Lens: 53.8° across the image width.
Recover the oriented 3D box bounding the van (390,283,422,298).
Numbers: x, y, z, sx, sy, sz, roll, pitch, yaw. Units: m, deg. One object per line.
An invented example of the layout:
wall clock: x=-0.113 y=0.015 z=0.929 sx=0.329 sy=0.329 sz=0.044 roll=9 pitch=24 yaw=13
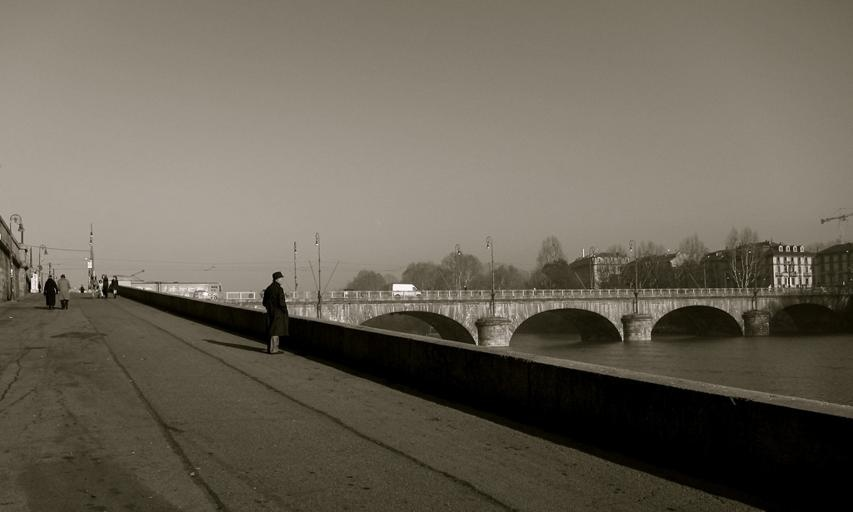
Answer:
van: x=-2.105 y=3.417 z=80.183 sx=2.910 sy=1.443 sz=1.547 roll=-3 pitch=6 yaw=-7

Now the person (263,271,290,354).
person: x=-3.580 y=1.335 z=19.859 sx=0.541 sy=1.918 sz=0.583 roll=1 pitch=1 yaw=-16
